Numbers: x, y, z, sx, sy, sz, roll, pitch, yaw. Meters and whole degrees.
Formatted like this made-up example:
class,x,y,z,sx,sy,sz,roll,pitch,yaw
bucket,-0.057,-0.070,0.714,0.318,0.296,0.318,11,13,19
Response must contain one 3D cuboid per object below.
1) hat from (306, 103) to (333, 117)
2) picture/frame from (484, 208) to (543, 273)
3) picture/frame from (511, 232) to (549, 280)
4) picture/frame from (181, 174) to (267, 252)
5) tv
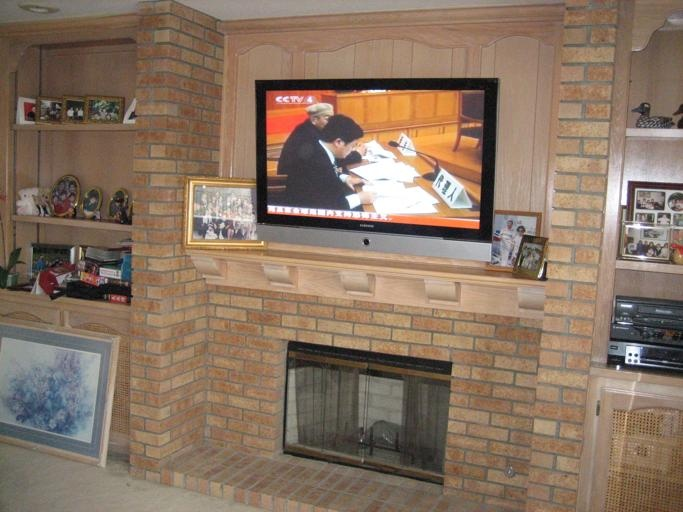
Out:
class,x,y,z,sx,sy,sz,roll,pitch,yaw
hat,-0.129,-0.870,3.308,0.107,0.038,0.088,19,28,29
picture/frame,0.963,-0.087,3.084,0.337,0.364,0.025,9,-1,23
picture/frame,1.018,0.002,2.974,0.030,0.266,0.237,24,-16,-20
picture/frame,-0.761,-0.269,3.504,0.534,0.413,0.042,0,-1,-21
tv,0.250,-0.522,3.235,1.176,0.769,0.040,6,13,17
